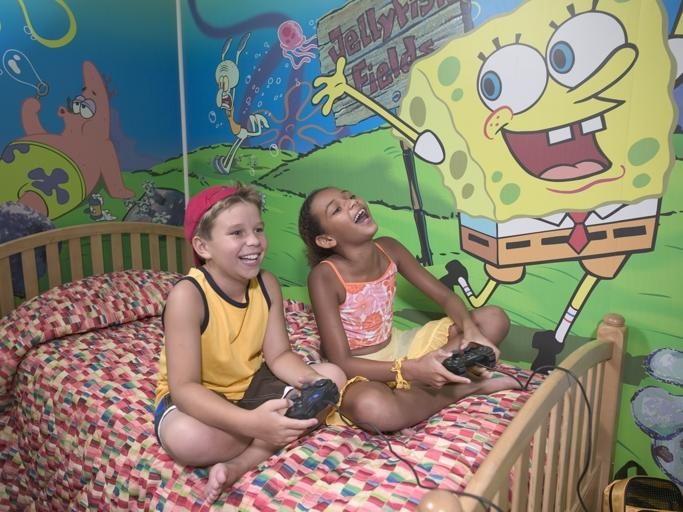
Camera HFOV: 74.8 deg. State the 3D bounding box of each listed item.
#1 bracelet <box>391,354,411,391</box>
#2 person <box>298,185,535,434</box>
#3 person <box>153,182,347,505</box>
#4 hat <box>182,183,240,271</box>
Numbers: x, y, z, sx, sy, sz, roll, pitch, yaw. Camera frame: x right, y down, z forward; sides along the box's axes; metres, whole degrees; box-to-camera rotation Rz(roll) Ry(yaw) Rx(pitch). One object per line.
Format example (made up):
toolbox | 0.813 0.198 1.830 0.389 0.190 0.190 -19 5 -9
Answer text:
bracelet | 0.205 0.424 1.553 0.050 0.093 0.085 -12 -9 16
person | 0.239 0.172 1.764 0.881 0.882 0.736 -15 21 -26
person | -0.351 0.223 1.384 0.511 0.837 0.550 -12 17 -25
hat | -0.452 -0.114 1.551 0.173 0.223 0.119 -15 27 -41
